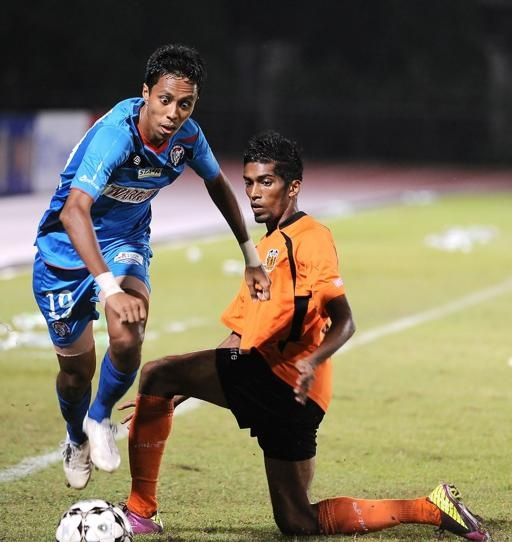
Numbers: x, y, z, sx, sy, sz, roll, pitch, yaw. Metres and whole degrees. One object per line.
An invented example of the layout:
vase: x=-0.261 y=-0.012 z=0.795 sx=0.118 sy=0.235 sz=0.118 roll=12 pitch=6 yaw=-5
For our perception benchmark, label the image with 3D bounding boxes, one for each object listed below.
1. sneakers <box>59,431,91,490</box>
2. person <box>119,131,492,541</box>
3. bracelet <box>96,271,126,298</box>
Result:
sneakers: x=-0.844 y=0.891 z=3.474 sx=0.111 sy=0.256 sz=0.110 roll=-8 pitch=-22 yaw=-20
person: x=0.179 y=0.299 z=2.896 sx=1.199 sy=1.618 sz=0.640 roll=8 pitch=11 yaw=23
bracelet: x=-0.534 y=0.051 z=2.735 sx=0.080 sy=0.064 sz=0.097 roll=-29 pitch=63 yaw=-19
